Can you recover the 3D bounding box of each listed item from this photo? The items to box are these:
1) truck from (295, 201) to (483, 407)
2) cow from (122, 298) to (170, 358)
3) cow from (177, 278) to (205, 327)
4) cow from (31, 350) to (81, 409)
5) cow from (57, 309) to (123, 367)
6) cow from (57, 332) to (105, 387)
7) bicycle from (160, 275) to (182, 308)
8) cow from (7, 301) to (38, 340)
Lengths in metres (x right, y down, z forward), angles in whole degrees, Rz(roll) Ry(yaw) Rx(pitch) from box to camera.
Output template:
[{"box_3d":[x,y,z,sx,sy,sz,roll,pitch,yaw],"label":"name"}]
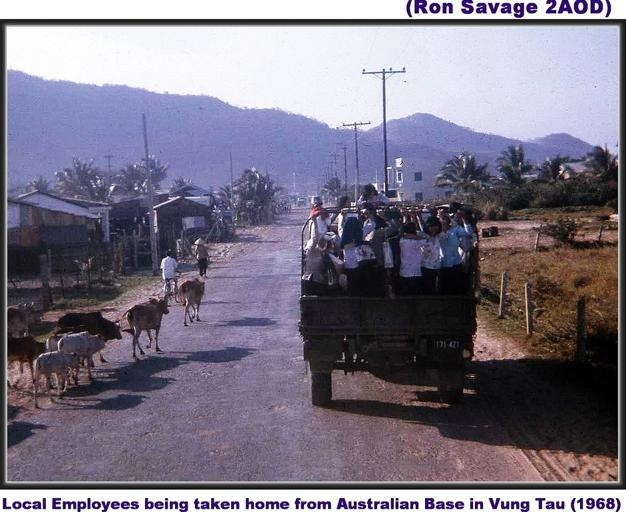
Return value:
[{"box_3d":[1.551,0.799,13.243,3.126,3.839,5.735,0,6,7],"label":"truck"},{"box_3d":[-4.443,1.865,16.129,0.521,1.581,2.162,-2,1,15],"label":"cow"},{"box_3d":[-4.083,1.498,20.198,0.544,1.617,2.252,0,-3,5],"label":"cow"},{"box_3d":[-5.244,2.411,12.160,0.340,0.979,1.489,-6,-4,12],"label":"cow"},{"box_3d":[-5.664,2.051,15.061,1.812,1.168,0.520,11,-15,-43],"label":"cow"},{"box_3d":[-5.183,2.236,13.495,0.304,0.967,1.204,-11,-7,31],"label":"cow"},{"box_3d":[-5.646,1.436,23.634,0.564,0.865,1.430,-2,-24,-2],"label":"bicycle"},{"box_3d":[-8.915,2.015,18.266,0.667,1.161,2.380,-4,7,-19],"label":"cow"}]
